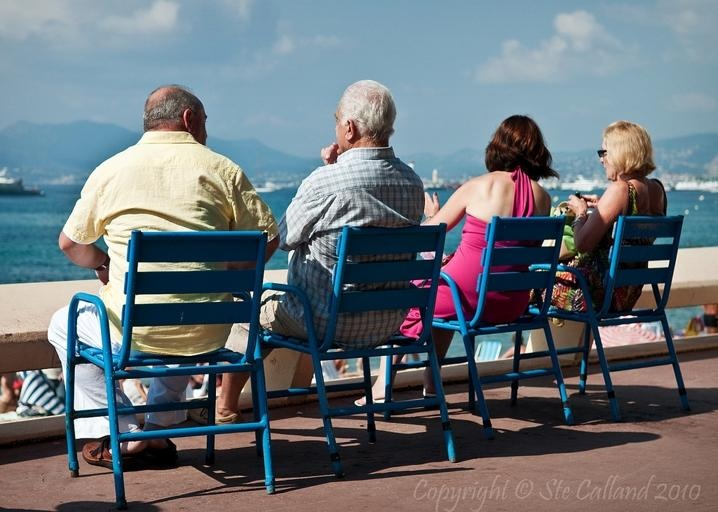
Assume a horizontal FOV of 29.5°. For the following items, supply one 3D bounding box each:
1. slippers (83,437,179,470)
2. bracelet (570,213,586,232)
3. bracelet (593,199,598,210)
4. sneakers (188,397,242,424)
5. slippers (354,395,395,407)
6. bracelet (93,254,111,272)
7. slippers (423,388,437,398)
[{"bbox_3d":[-1.615,1.402,9.558,0.545,0.204,0.274,1,-5,2],"label":"slippers"},{"bbox_3d":[1.726,-0.278,10.663,0.113,0.143,0.070,7,13,-35],"label":"bracelet"},{"bbox_3d":[1.864,-0.408,10.757,0.020,0.056,0.057,37,-10,28],"label":"bracelet"},{"bbox_3d":[-1.077,1.143,10.129,0.434,0.158,0.189,3,-6,10],"label":"sneakers"},{"bbox_3d":[0.099,1.122,10.571,0.280,0.072,0.109,0,-6,11],"label":"slippers"},{"bbox_3d":[-1.821,0.043,9.582,0.114,0.120,0.049,3,16,-10],"label":"bracelet"},{"bbox_3d":[0.538,1.066,10.640,0.088,0.060,0.087,-1,1,7],"label":"slippers"}]
